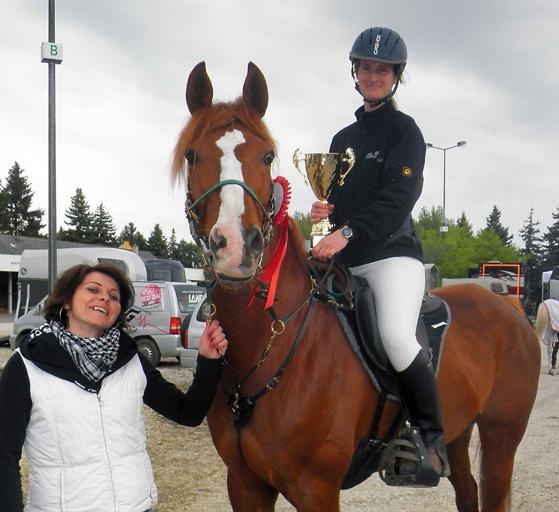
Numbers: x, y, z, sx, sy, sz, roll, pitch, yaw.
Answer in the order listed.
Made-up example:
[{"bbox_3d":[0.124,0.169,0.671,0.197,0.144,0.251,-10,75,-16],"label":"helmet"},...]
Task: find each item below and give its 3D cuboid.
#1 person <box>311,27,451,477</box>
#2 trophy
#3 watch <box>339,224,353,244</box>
[{"bbox_3d":[0.554,-0.038,4.425,0.592,2.521,0.755,-5,5,-24],"label":"person"},{"bbox_3d":[0.241,-0.345,4.359,0.291,0.527,0.207,3,7,8],"label":"trophy"},{"bbox_3d":[0.375,-0.101,4.189,0.047,0.084,0.076,-20,0,-17],"label":"watch"}]
